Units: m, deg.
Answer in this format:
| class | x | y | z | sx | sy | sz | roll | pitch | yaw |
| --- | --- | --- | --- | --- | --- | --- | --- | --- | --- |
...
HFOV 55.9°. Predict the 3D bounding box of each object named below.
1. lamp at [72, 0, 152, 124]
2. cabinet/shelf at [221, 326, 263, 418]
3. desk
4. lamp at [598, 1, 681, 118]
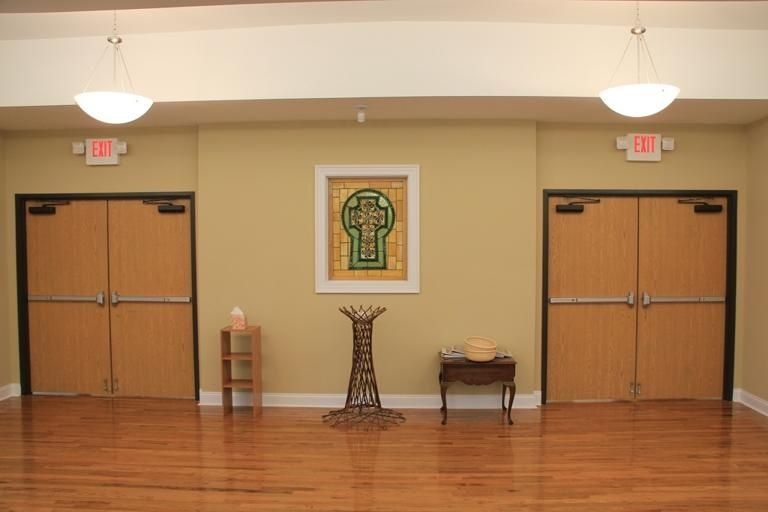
| class | x | y | z | sx | sy | sz | roll | pitch | yaw |
| --- | --- | --- | --- | --- | --- | --- | --- | --- | --- |
| lamp | -2.995 | -2.083 | 8.041 | 0.744 | 1.320 | 0.996 | 2 | -4 | -21 |
| cabinet/shelf | -1.762 | 1.402 | 8.927 | 0.523 | 1.067 | 0.442 | 1 | -4 | -10 |
| desk | 1.143 | 1.647 | 8.900 | 0.906 | 0.688 | 0.665 | 0 | -4 | 3 |
| lamp | 2.789 | -2.134 | 7.953 | 0.776 | 1.257 | 0.759 | -1 | -4 | 18 |
